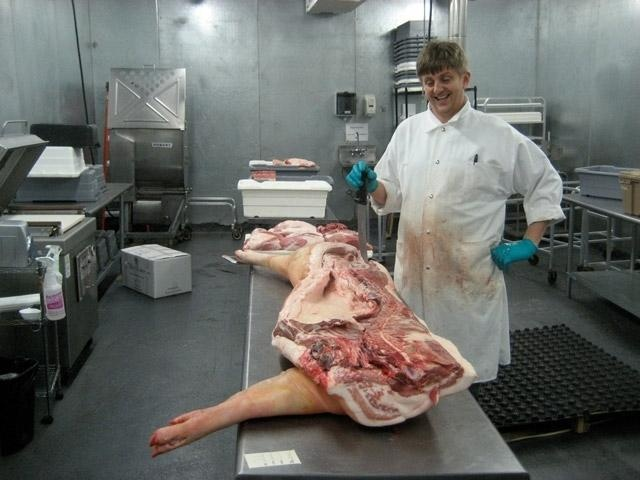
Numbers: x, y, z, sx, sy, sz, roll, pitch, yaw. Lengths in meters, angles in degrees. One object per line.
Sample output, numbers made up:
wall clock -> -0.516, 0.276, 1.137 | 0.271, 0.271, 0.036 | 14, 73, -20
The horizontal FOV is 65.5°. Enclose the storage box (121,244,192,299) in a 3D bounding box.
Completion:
storage box -> -1.518, 0.142, 4.632 | 0.446, 0.357, 0.654 | -7, 14, -42

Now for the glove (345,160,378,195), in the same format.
glove -> 0.200, -0.270, 2.412 | 0.108, 0.193, 0.095 | 7, 56, 15

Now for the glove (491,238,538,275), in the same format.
glove -> 0.897, 0.074, 2.327 | 0.181, 0.146, 0.205 | 11, 16, 29

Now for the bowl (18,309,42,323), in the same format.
bowl -> -1.567, 0.414, 2.694 | 0.076, 0.036, 0.079 | 0, -3, 0

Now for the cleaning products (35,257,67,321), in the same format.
cleaning products -> -1.513, 0.285, 2.795 | 0.072, 0.385, 0.152 | 4, 13, 6

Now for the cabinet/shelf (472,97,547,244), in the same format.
cabinet/shelf -> 2.654, -0.959, 6.713 | 0.921, 1.760, 1.046 | -10, 10, 4

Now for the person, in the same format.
person -> 0.675, -0.130, 2.419 | 0.919, 1.539, 0.439 | 10, 15, 26
